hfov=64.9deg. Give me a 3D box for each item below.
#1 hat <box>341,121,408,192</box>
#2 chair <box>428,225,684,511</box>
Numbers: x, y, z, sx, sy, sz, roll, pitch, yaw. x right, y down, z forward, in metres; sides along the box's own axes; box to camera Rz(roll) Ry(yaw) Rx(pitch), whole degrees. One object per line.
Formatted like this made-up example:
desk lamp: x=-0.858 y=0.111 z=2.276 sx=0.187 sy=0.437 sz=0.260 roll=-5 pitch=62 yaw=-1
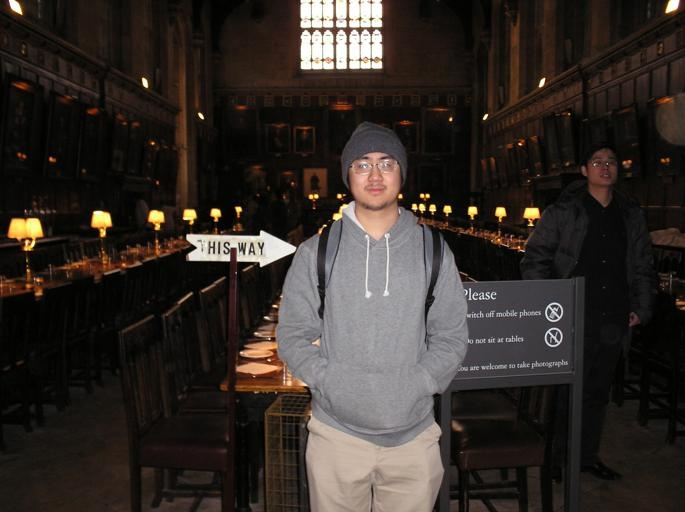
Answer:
hat: x=0.120 y=-0.431 z=2.220 sx=0.258 sy=0.261 sz=0.277 roll=-1 pitch=-16 yaw=-3
chair: x=0.867 y=0.503 z=3.262 sx=1.017 sy=1.917 sz=0.976 roll=-1 pitch=4 yaw=-12
